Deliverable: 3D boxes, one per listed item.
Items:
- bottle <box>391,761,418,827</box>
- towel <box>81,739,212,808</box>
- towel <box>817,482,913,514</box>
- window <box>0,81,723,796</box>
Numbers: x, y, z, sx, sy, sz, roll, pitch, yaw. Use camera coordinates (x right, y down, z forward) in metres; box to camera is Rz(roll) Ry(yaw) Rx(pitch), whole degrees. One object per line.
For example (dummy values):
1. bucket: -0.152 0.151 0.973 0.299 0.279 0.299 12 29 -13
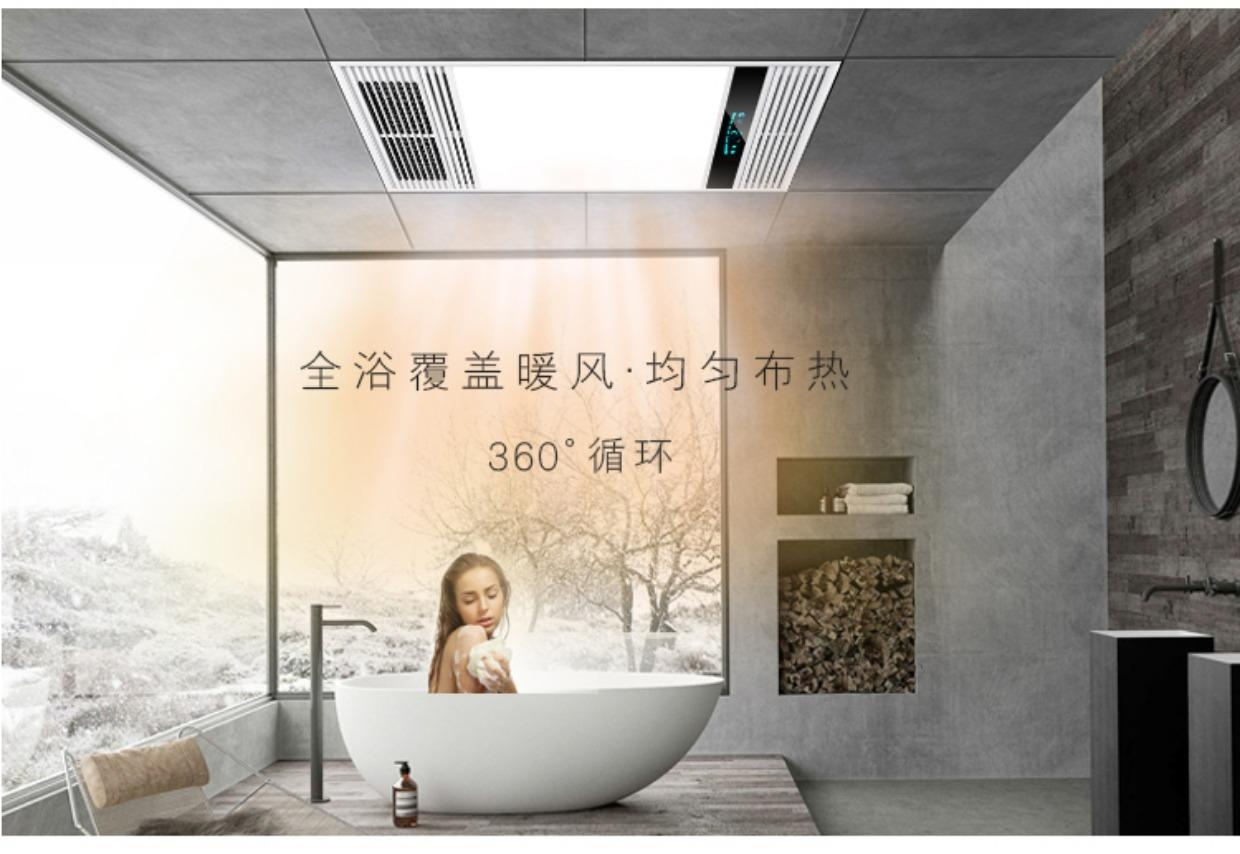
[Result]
1. bottle: -0.790 1.365 3.197 0.099 0.231 0.044 3 -11 -12
2. towel: -1.613 1.108 2.949 0.183 0.134 0.318 3 -6 27
3. towel: 0.954 0.279 3.346 0.344 0.120 0.028 -1 -11 8
4. window: -1.029 0.139 3.356 2.828 2.635 1.539 0 -1 -11
